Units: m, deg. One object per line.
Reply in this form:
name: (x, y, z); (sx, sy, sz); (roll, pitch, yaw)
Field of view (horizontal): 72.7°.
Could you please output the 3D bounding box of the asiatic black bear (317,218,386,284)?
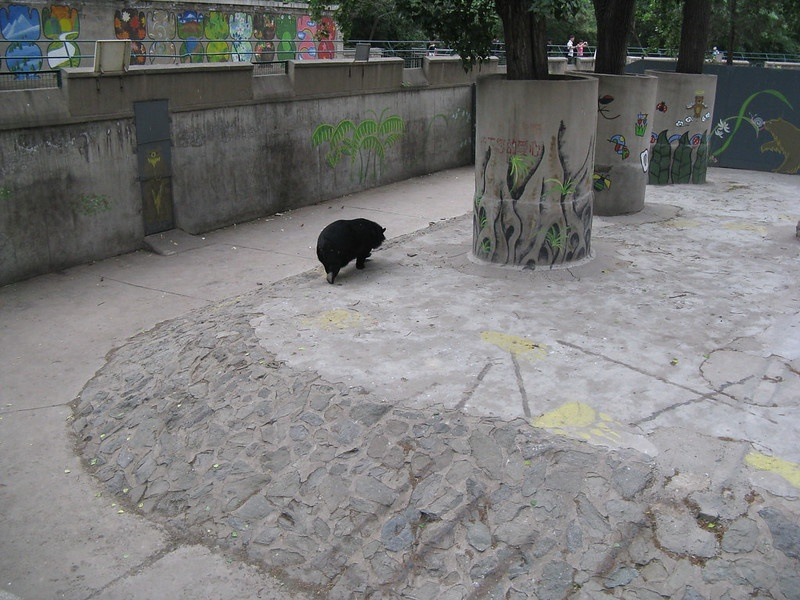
asiatic black bear: (-0.851, -0.929, 8.989); (0.562, 0.876, 1.587); (15, 30, 32)
